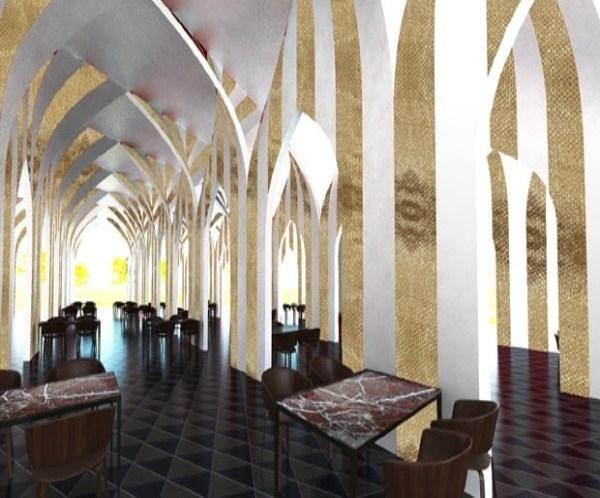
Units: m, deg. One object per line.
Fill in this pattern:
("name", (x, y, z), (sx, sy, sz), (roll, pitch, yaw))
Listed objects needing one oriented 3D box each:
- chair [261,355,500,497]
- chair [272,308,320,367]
("chair", (0.702, 1.996, 5.551), (2.667, 1.335, 1.748), (-6, -7, 25))
("chair", (-0.270, 1.766, 9.815), (0.668, 0.724, 0.964), (3, -6, -31))
